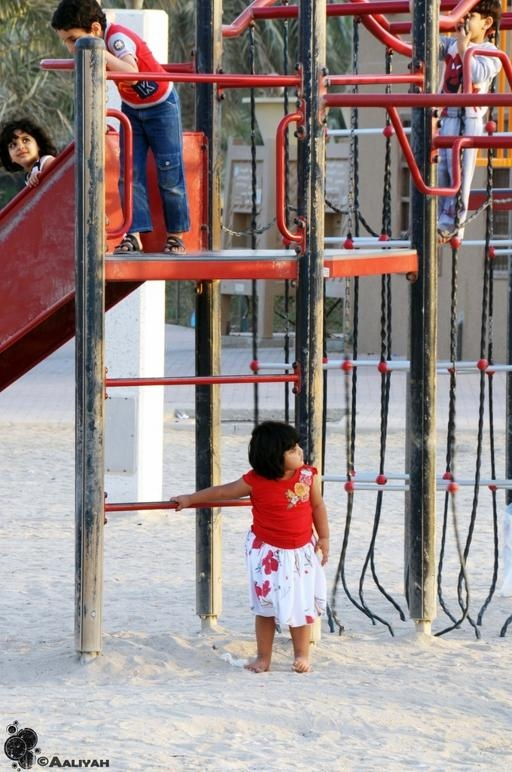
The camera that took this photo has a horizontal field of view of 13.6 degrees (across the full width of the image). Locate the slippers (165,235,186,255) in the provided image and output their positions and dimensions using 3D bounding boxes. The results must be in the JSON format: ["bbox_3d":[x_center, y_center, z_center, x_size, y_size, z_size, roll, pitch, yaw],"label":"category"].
[{"bbox_3d":[-0.304,-0.510,7.860,0.063,0.076,0.212,-1,4,-1],"label":"slippers"}]

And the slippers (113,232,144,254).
[{"bbox_3d":[-0.461,-0.511,7.836,0.044,0.102,0.136,-12,-11,40],"label":"slippers"}]

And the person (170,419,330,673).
[{"bbox_3d":[-0.016,0.565,7.687,0.460,0.956,0.249,-3,22,-5],"label":"person"}]
